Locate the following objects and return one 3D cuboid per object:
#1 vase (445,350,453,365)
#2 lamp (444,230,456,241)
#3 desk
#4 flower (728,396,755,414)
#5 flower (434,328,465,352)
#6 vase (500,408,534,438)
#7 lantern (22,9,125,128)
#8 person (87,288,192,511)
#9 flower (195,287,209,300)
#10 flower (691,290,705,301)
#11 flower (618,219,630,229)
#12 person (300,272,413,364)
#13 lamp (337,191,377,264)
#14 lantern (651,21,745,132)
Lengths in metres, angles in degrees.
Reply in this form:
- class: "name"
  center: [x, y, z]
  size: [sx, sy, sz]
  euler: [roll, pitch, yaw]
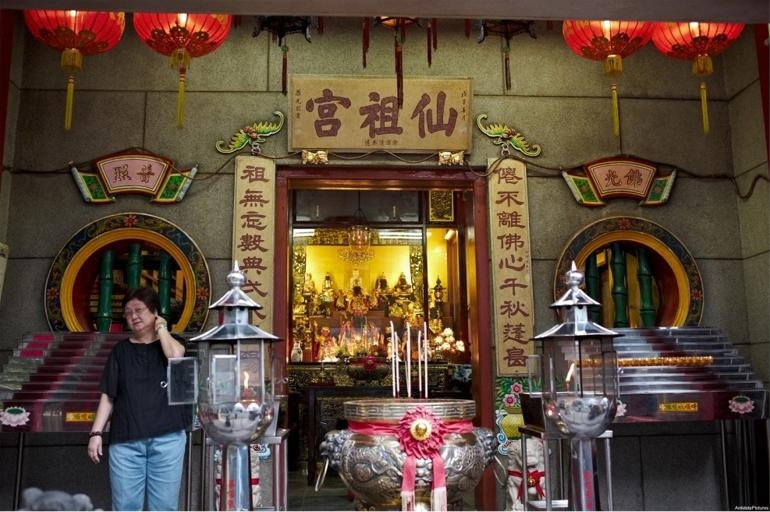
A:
- class: "vase"
  center: [0.806, 1.290, 9.027]
  size: [0.129, 0.217, 0.124]
  euler: [-2, -5, 8]
- class: "lamp"
  center: [0.860, -0.274, 9.521]
  size: [0.138, 0.128, 0.242]
  euler: [-8, 0, -8]
- class: "desk"
  center: [-0.398, 1.855, 7.699]
  size: [0.906, 0.984, 0.634]
  euler: [1, -10, -7]
- class: "flower"
  center: [2.711, 1.135, 5.495]
  size: [0.213, 0.148, 0.040]
  euler: [2, -11, -17]
- class: "flower"
  center: [0.838, 1.071, 9.175]
  size: [0.444, 0.306, 0.316]
  euler: [-4, -10, 20]
- class: "vase"
  center: [0.980, 1.315, 5.545]
  size: [0.149, 0.210, 0.424]
  euler: [-3, -10, 10]
- class: "lantern"
  center: [-2.437, -1.431, 5.397]
  size: [0.777, 0.824, 0.581]
  euler: [-8, -12, 37]
- class: "person"
  center: [-1.456, 0.856, 4.344]
  size: [0.550, 1.318, 0.288]
  euler: [-3, -10, 13]
- class: "flower"
  center: [-1.566, 0.323, 6.147]
  size: [0.114, 0.103, 0.040]
  euler: [-3, 0, -12]
- class: "flower"
  center: [2.749, 0.347, 6.359]
  size: [0.133, 0.086, 0.036]
  euler: [2, -11, -17]
- class: "flower"
  center: [2.109, -0.281, 6.401]
  size: [0.092, 0.084, 0.024]
  euler: [2, -7, -1]
- class: "person"
  center: [-0.432, 0.919, 9.793]
  size: [2.032, 1.262, 0.999]
  euler: [1, -12, -5]
- class: "lamp"
  center: [-0.332, -0.347, 9.648]
  size: [0.425, 0.860, 0.496]
  euler: [3, -11, -18]
- class: "lantern"
  center: [2.382, -1.590, 5.524]
  size: [0.616, 0.410, 0.304]
  euler: [-3, -10, 14]
